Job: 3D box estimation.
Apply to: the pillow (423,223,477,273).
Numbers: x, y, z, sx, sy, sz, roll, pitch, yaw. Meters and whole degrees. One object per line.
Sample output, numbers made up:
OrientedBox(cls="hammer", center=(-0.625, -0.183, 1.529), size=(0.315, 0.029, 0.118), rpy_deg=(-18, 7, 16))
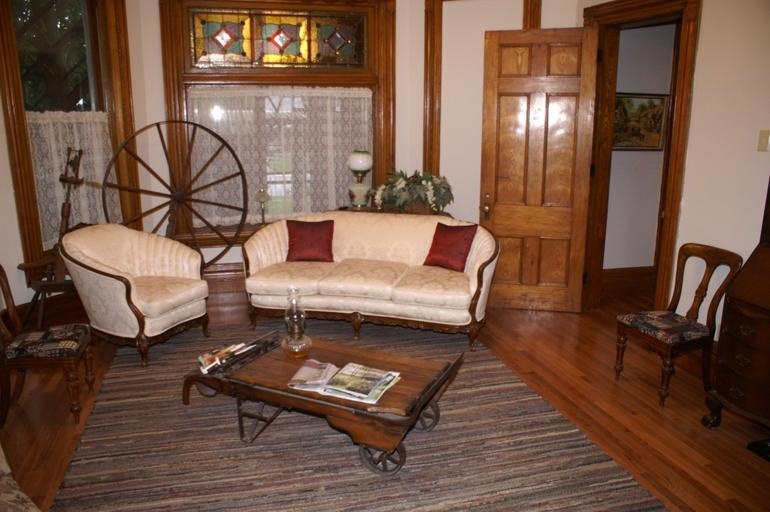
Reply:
OrientedBox(cls="pillow", center=(0.670, -0.102, 5.433), size=(0.548, 0.475, 0.165), rpy_deg=(13, -5, 38))

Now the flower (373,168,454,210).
OrientedBox(cls="flower", center=(0.300, -0.729, 6.001), size=(0.878, 0.430, 0.408), rpy_deg=(0, 18, 0))

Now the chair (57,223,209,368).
OrientedBox(cls="chair", center=(-2.426, 0.263, 5.163), size=(1.296, 0.910, 1.092), rpy_deg=(20, 20, 30))
